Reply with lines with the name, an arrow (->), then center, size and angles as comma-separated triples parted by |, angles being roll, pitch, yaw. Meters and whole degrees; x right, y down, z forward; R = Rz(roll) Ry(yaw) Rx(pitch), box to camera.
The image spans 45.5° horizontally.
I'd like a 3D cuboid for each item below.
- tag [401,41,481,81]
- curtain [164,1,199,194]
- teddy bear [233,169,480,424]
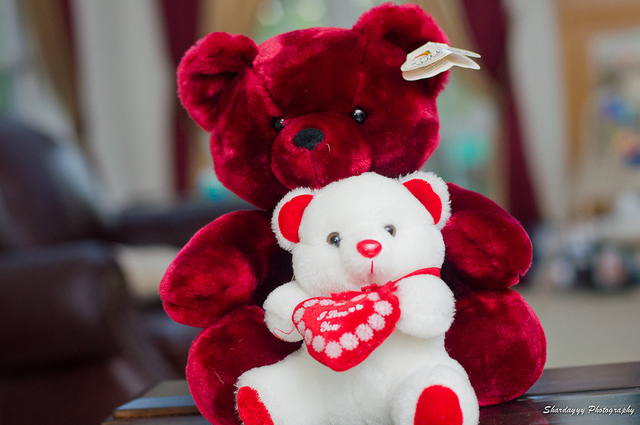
tag -> 0.303, -0.399, 2.004 | 0.134, 0.038, 0.121 | -7, 35, 13
curtain -> -0.734, -0.623, 4.007 | 0.172, 1.137, 0.151 | -1, 7, 5
teddy bear -> 0.064, 0.249, 2.164 | 0.710, 0.820, 0.573 | 0, -1, 11
